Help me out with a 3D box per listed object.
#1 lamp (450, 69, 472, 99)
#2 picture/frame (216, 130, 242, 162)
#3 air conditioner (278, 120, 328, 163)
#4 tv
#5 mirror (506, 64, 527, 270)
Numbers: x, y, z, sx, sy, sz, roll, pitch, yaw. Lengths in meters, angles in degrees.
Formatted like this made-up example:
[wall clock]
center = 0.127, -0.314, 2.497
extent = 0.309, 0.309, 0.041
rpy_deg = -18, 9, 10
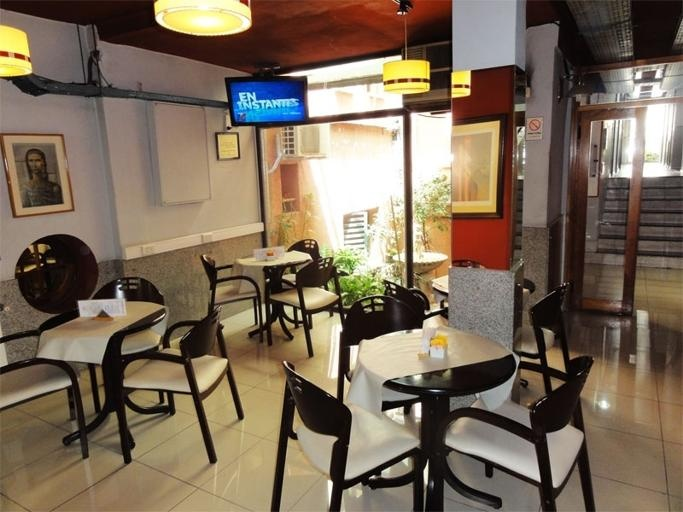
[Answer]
[lamp]
center = 0.971, -1.389, 4.042
extent = 0.199, 0.224, 0.198
rpy_deg = -1, 1, -13
[picture/frame]
center = -1.551, -1.496, 6.777
extent = 0.037, 0.386, 0.451
rpy_deg = -1, 7, 31
[air conditioner]
center = -0.539, -1.643, 7.231
extent = 0.785, 0.575, 0.434
rpy_deg = 9, 20, 28
[tv]
center = -0.917, -1.922, 6.139
extent = 0.715, 0.421, 0.073
rpy_deg = -1, 9, -3
[mirror]
center = 1.422, -0.713, 4.027
extent = 0.104, 1.528, 0.474
rpy_deg = 0, 12, 20
